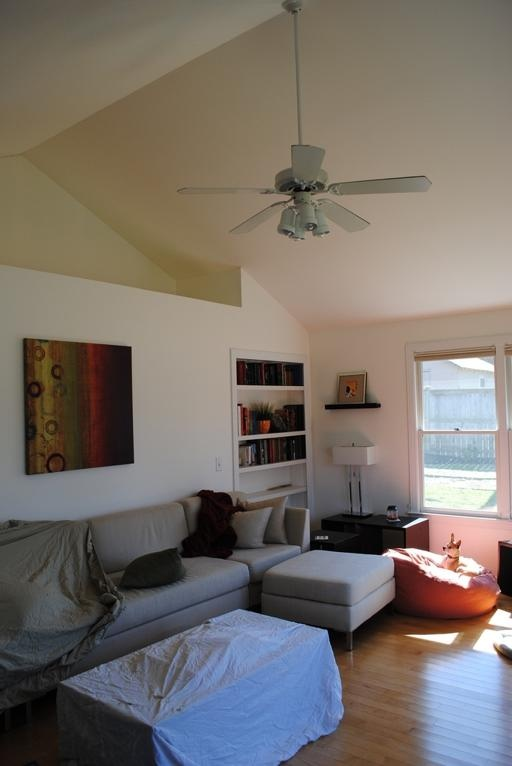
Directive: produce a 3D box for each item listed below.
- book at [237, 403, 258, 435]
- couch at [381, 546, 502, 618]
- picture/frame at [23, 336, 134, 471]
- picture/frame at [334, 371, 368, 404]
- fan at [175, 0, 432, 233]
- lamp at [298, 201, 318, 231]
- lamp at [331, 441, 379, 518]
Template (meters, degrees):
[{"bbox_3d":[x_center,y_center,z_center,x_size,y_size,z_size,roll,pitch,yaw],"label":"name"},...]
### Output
[{"bbox_3d":[-0.082,0.335,5.367,0.148,0.259,0.275,-4,-4,24],"label":"book"},{"bbox_3d":[1.277,1.388,4.051,0.535,0.232,0.539,-3,-6,14],"label":"couch"},{"bbox_3d":[-1.152,0.131,3.757,0.082,0.954,0.925,-3,-2,36],"label":"picture/frame"},{"bbox_3d":[0.965,0.041,5.914,0.309,0.360,0.026,5,-9,41],"label":"picture/frame"},{"bbox_3d":[0.167,-1.189,2.827,0.857,1.106,1.447,-2,-2,-6],"label":"fan"},{"bbox_3d":[0.222,-0.711,2.509,0.073,0.108,0.144,-2,-2,6],"label":"lamp"},{"bbox_3d":[0.972,0.936,5.739,0.400,0.674,0.394,-3,-2,23],"label":"lamp"}]
